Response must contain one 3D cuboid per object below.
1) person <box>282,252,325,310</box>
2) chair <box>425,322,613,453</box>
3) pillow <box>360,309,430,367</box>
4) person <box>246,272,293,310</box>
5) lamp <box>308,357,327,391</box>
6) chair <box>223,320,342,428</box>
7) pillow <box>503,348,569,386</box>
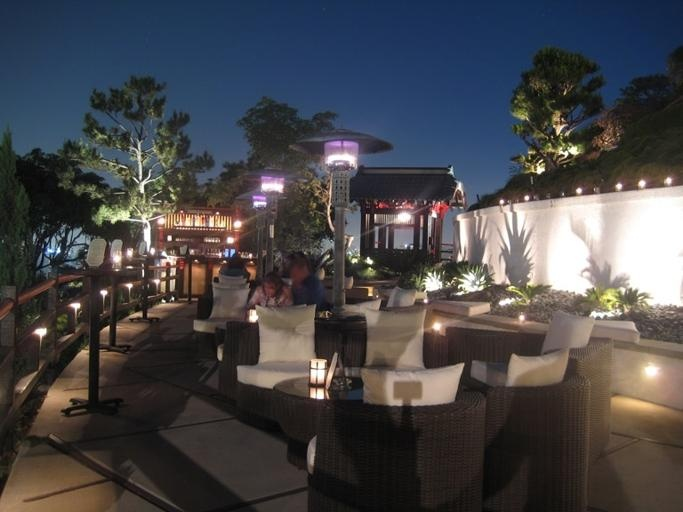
[{"bbox_3d":[-0.515,0.353,7.299,0.575,0.789,0.595,1,6,5],"label":"person"},{"bbox_3d":[2.040,1.168,5.634,1.184,1.176,1.594,9,-10,-23],"label":"chair"},{"bbox_3d":[0.647,1.033,6.340,0.757,0.797,0.321,-1,-7,10],"label":"pillow"},{"bbox_3d":[-1.028,0.532,7.436,0.634,0.883,0.476,1,8,5],"label":"person"},{"bbox_3d":[-0.236,1.163,5.085,0.217,0.341,0.223,3,-3,-18],"label":"lamp"},{"bbox_3d":[-0.814,1.419,6.172,1.097,1.065,1.137,-6,-15,29],"label":"chair"},{"bbox_3d":[1.580,0.907,4.041,0.340,0.332,0.107,-1,9,-5],"label":"pillow"}]
